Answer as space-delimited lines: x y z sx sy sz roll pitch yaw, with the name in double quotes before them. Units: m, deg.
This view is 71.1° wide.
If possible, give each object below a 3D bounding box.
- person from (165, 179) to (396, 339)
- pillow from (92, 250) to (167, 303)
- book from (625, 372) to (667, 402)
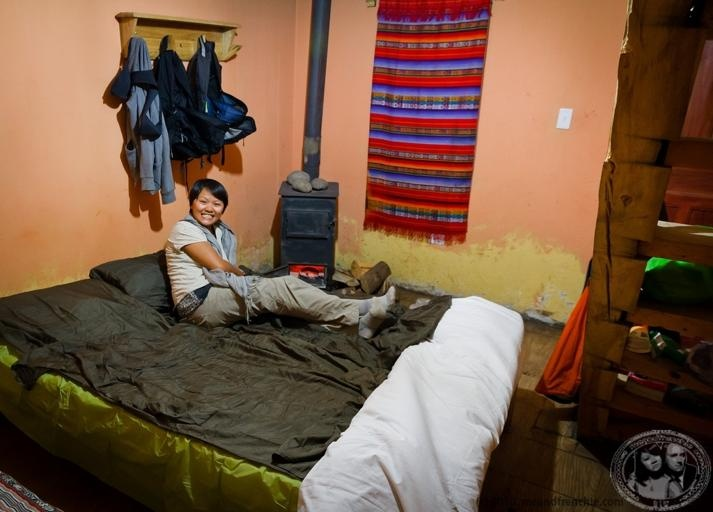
"person" -0.493 -0.043 3.841 1.979 1.196 0.770 9 16 2
"pillow" -1.562 0.143 3.609 0.398 0.105 0.387 3 23 -25
"book" 1.694 0.767 2.925 0.203 0.096 0.099 14 20 34
